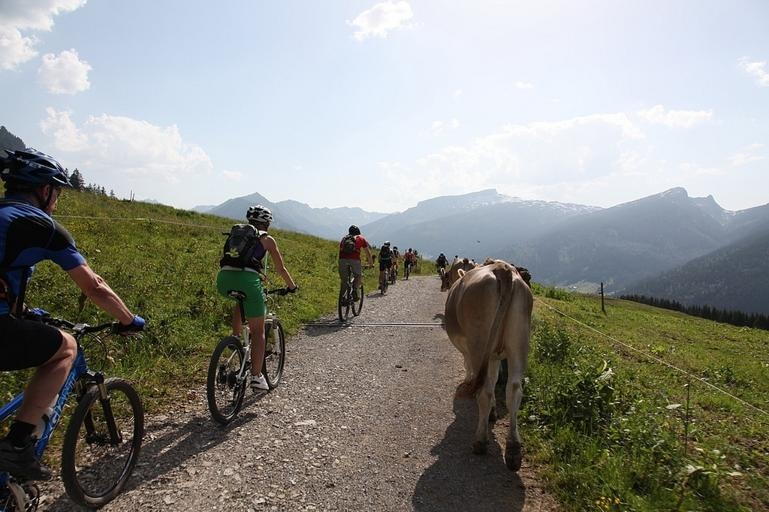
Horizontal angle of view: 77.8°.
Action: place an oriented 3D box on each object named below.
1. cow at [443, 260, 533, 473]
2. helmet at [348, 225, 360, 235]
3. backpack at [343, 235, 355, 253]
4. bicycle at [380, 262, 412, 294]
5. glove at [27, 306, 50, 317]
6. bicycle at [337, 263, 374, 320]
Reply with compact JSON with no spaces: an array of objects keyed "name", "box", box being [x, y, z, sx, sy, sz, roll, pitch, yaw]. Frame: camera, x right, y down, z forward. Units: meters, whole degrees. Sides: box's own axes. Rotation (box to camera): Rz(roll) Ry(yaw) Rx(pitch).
[{"name":"cow","box":[2.117,1.997,9.557,1.499,3.632,2.598,-1,11,-1]},{"name":"helmet","box":[-1.180,-0.975,18.764,0.362,0.196,0.492,20,5,18]},{"name":"backpack","box":[-1.314,-0.411,17.453,0.453,0.562,0.546,0,-9,6]},{"name":"bicycle","box":[0.325,1.231,28.396,1.144,1.499,2.318,2,5,15]},{"name":"glove","box":[-5.595,0.915,7.642,0.346,0.146,0.351,10,-2,-26]},{"name":"bicycle","box":[-1.251,1.654,17.915,0.911,1.252,1.918,5,5,4]}]
